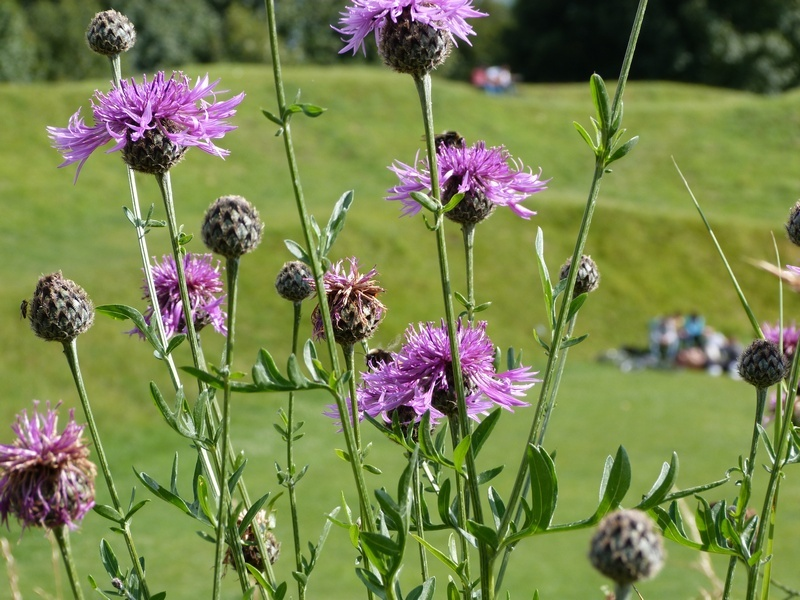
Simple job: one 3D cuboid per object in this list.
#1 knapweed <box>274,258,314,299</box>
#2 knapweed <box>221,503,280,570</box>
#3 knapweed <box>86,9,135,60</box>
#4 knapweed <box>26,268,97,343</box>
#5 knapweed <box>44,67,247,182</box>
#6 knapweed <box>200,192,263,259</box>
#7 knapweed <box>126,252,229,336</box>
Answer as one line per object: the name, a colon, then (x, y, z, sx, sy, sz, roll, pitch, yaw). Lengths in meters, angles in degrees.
knapweed: (-1.134, -0.205, 14.665, 0.353, 0.444, 0.416, 0, -21, -4)
knapweed: (-1.576, 2.508, 14.424, 0.573, 0.919, 0.661, -1, 20, -9)
knapweed: (-3.132, -2.927, 14.764, 0.462, 0.574, 0.491, -8, 19, -11)
knapweed: (-3.587, 0.045, 14.542, 0.604, 0.796, 0.720, 0, 0, 2)
knapweed: (-2.595, -1.843, 14.156, 1.854, 1.040, 0.528, 2, 20, -3)
knapweed: (-1.745, -0.729, 14.308, 0.568, 0.685, 0.581, -4, -8, 39)
knapweed: (-2.314, -0.091, 14.698, 0.651, 0.912, 0.742, 4, -15, 9)
